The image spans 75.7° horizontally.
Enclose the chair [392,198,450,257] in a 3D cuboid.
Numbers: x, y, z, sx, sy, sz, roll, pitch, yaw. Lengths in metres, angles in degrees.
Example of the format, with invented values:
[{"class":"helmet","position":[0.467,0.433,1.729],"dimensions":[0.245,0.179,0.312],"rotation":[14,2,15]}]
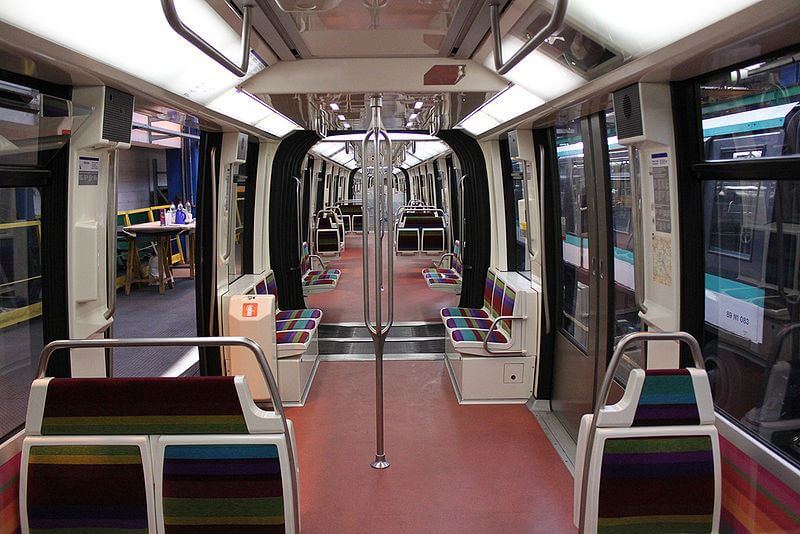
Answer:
[{"class":"chair","position":[0.489,-0.859,12.192],"dimensions":[0.991,0.730,1.665],"rotation":[0,11,0]}]

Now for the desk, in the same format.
[{"class":"desk","position":[-5.518,-0.211,11.640],"dimensions":[1.082,0.854,1.806],"rotation":[0,7,-5]}]
